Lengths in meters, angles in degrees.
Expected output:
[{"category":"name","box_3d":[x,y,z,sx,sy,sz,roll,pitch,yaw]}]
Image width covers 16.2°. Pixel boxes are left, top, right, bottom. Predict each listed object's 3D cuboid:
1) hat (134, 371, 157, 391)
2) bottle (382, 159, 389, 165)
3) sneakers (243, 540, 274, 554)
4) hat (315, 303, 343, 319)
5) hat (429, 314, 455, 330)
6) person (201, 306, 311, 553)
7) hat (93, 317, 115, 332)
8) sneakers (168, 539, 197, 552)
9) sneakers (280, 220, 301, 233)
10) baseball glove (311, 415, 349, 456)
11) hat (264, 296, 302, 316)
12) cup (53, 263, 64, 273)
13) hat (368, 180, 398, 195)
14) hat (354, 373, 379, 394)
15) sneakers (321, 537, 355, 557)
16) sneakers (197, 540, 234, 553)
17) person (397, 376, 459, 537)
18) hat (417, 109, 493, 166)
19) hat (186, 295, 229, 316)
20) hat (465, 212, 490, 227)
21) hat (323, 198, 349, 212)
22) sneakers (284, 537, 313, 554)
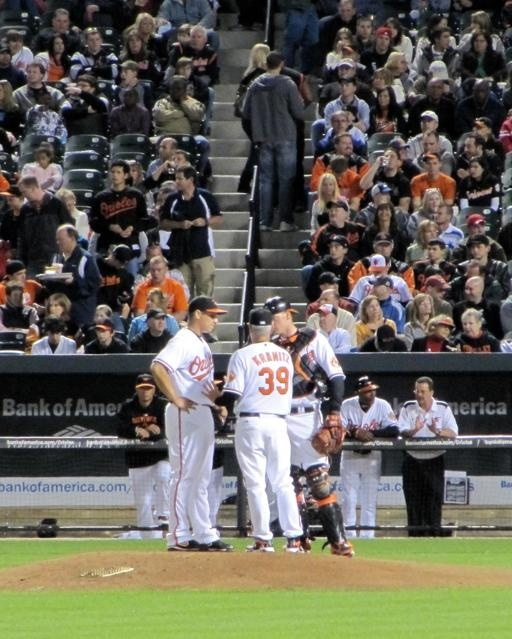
[{"category":"hat","box_3d":[-0.991,0.539,15.865,0.178,0.160,0.263,2,-2,-6]},{"category":"bottle","box_3d":[1.294,-1.630,18.563,0.050,0.057,0.099,0,-11,3]},{"category":"sneakers","box_3d":[-0.002,1.764,13.938,0.210,0.104,0.090,4,5,15]},{"category":"hat","box_3d":[0.643,-0.080,16.614,0.099,0.092,0.168,-1,-16,34]},{"category":"hat","box_3d":[1.693,0.020,16.816,0.243,0.103,0.230,0,-1,10]},{"category":"person","box_3d":[0.017,0.865,13.997,0.699,1.568,0.489,1,0,0]},{"category":"hat","box_3d":[-1.408,0.050,16.601,0.107,0.093,0.156,5,-18,26]},{"category":"sneakers","box_3d":[-0.596,1.773,14.101,0.222,0.098,0.088,-4,-8,8]},{"category":"sneakers","box_3d":[0.323,-0.993,19.319,0.195,0.098,0.147,1,-1,-8]},{"category":"baseball glove","box_3d":[0.552,0.862,14.111,0.207,0.325,0.142,20,29,-33]},{"category":"hat","box_3d":[0.197,-0.077,14.348,0.233,0.149,0.173,-4,18,-18]},{"category":"cup","box_3d":[-1.936,-0.500,17.338,0.085,0.089,0.159,1,-1,-24]},{"category":"hat","box_3d":[1.221,-1.355,18.356,0.195,0.127,0.143,4,11,15]},{"category":"hat","box_3d":[0.938,0.590,16.123,0.134,0.096,0.178,-22,-10,-27]},{"category":"sneakers","box_3d":[0.592,1.793,14.096,0.295,0.146,0.111,-1,2,15]},{"category":"sneakers","box_3d":[-0.338,1.776,14.112,0.278,0.140,0.100,0,-5,-5]},{"category":"person","box_3d":[1.497,1.230,16.117,0.517,1.110,0.556,1,0,5]},{"category":"hat","box_3d":[2.092,-2.039,19.833,0.566,0.815,0.662,1,-2,1]},{"category":"hat","box_3d":[-0.418,-0.102,14.295,0.228,0.139,0.159,-3,6,-1]},{"category":"hat","box_3d":[2.187,-1.013,18.210,0.118,0.108,0.181,-5,-16,-1]},{"category":"hat","box_3d":[0.805,-1.190,18.099,0.119,0.104,0.200,-3,-16,38]},{"category":"sneakers","box_3d":[0.325,1.763,14.069,0.089,0.118,0.252,3,4,23]}]
